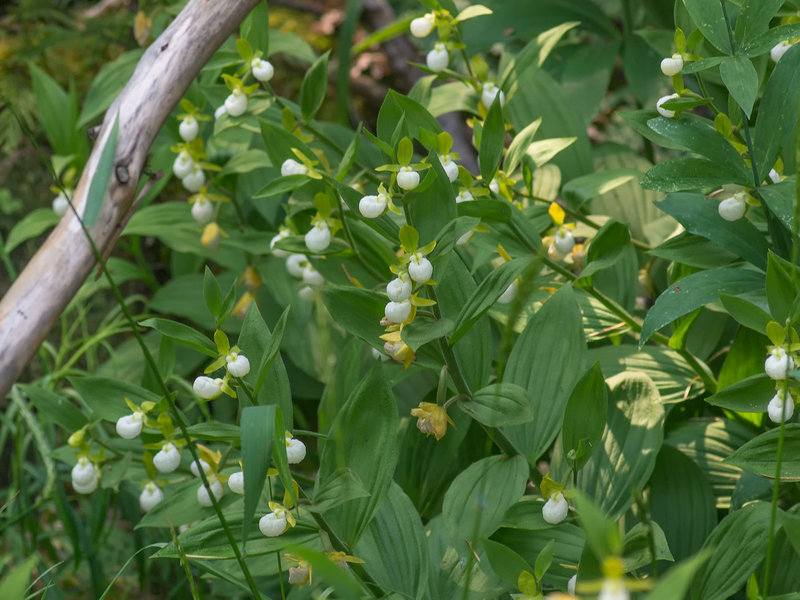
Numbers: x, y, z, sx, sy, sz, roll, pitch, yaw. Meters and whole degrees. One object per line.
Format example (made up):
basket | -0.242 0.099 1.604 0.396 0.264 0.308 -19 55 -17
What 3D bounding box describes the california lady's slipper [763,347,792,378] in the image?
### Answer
california lady's slipper | 0.636 0.102 1.397 0.036 0.022 0.053 -1 88 14
